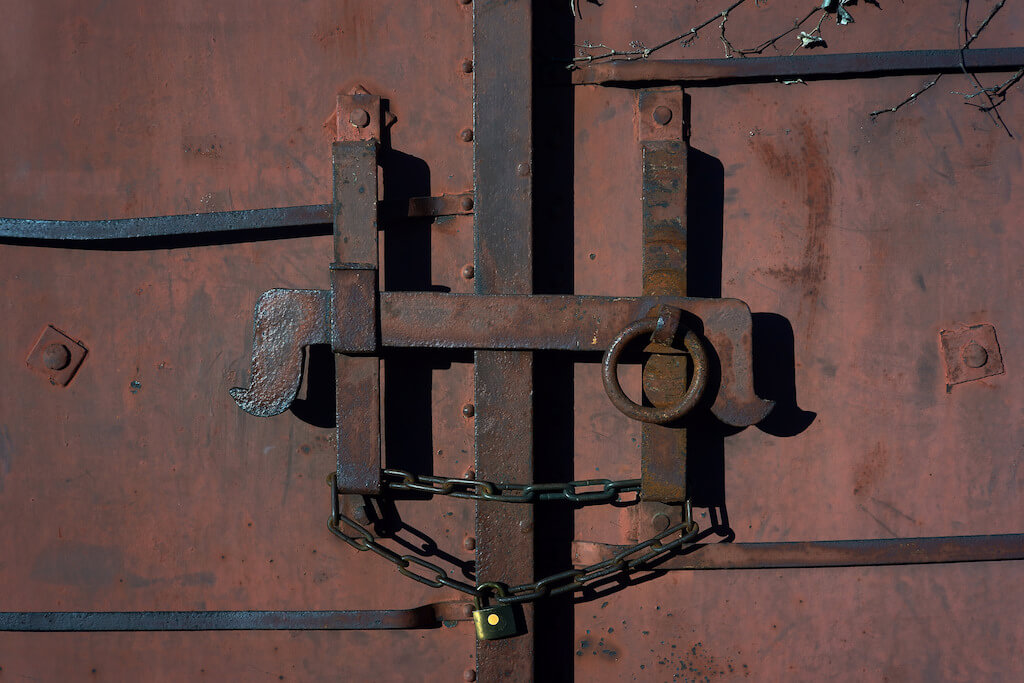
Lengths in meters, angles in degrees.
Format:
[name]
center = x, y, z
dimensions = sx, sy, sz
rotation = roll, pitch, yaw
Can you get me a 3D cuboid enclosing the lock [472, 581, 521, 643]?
[lock]
center = -0.059, 0.972, 6.173
dimensions = 0.156, 0.099, 0.209
rotation = -8, 85, 0
